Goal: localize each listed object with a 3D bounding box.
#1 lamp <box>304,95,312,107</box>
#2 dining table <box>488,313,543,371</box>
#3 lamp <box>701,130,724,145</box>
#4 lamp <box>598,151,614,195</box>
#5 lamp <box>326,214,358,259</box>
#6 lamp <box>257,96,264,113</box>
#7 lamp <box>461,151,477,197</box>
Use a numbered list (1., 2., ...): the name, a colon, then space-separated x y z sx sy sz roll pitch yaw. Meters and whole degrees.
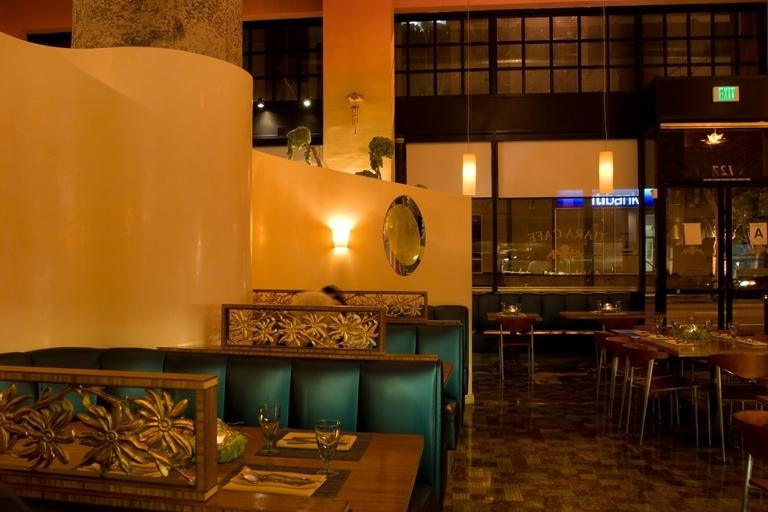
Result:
1. lamp: -1.281 -2.606 12.314 0.056 0.147 0.123 6 13 43
2. dining table: 1.928 1.291 10.578 0.541 0.906 0.609 -3 8 -3
3. lamp: 5.148 -1.835 11.391 0.246 0.122 0.250 1 8 32
4. lamp: 3.017 -1.136 9.923 0.161 0.556 0.243 3 7 24
5. lamp: -0.590 -0.236 9.994 0.589 0.679 0.486 0 -5 -5
6. lamp: -2.099 -2.581 12.481 0.141 0.219 0.081 -4 7 -26
7. lamp: 1.218 -1.193 10.572 0.167 0.607 0.179 -4 4 -23
